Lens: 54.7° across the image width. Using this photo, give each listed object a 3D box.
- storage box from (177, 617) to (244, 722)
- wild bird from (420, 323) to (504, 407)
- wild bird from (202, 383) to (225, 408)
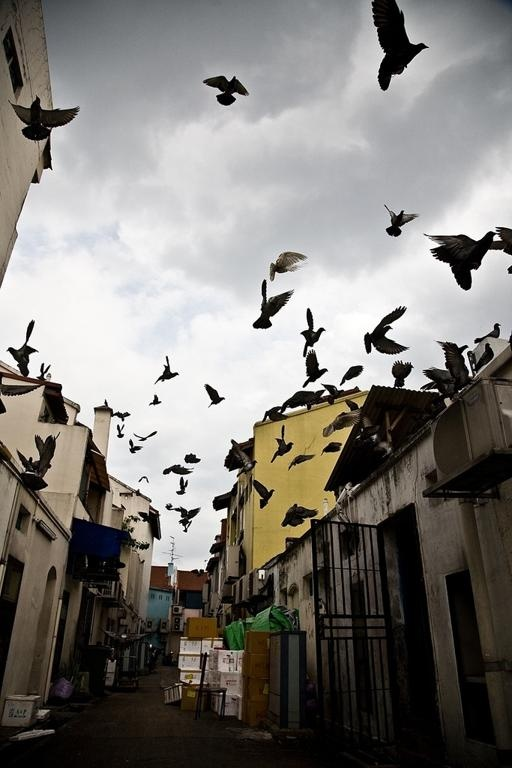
[{"bbox_3d":[-0.952,5.534,10.262,1.246,1.677,3.756,4,-26,-7],"label":"storage box"},{"bbox_3d":[2.040,-0.132,4.753,0.488,0.540,0.687,11,-27,4],"label":"wild bird"},{"bbox_3d":[-0.534,0.107,6.250,0.248,0.099,0.471,-2,-46,16],"label":"wild bird"}]
